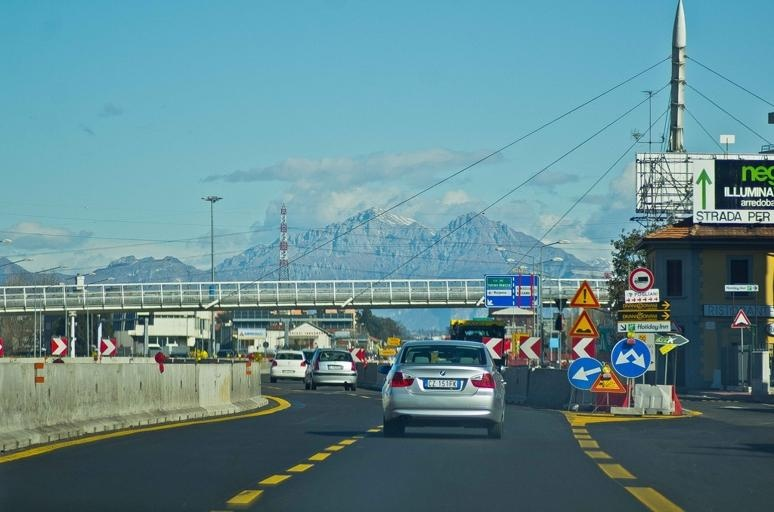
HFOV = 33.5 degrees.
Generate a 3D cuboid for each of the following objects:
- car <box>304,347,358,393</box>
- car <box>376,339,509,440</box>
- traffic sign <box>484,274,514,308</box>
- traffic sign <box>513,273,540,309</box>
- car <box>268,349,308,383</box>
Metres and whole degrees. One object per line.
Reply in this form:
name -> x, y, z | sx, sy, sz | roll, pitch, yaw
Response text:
car -> -2.488, 5.066, 58.560 | 1.918, 1.933, 1.931 | 1, -6, -20
car -> 1.580, 3.403, 33.081 | 3.083, 2.477, 1.159 | -1, -5, -5
traffic sign -> 8.101, 2.246, 87.934 | 1.891, 2.122, 0.271 | 2, 7, 17
traffic sign -> 9.697, 2.175, 85.551 | 2.071, 2.456, 0.305 | 1, 5, 33
car -> -5.120, 5.709, 68.416 | 1.269, 1.125, 2.342 | 0, 3, -1
